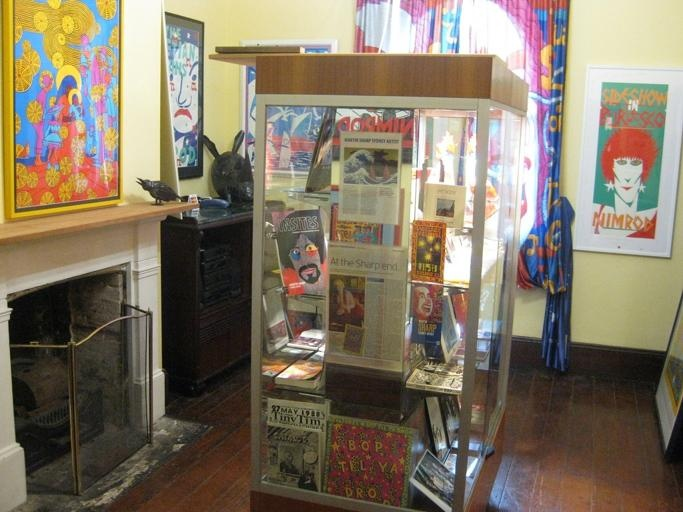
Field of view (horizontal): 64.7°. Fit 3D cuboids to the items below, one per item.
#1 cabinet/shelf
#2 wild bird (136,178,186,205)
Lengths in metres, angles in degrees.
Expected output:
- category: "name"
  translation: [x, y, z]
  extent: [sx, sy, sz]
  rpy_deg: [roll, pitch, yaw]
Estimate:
- category: "cabinet/shelf"
  translation: [-1.085, 0.317, 4.269]
  extent: [0.372, 1.334, 0.755]
  rpy_deg: [9, 16, 25]
- category: "wild bird"
  translation: [-1.169, -0.409, 3.535]
  extent: [0.337, 0.180, 0.122]
  rpy_deg: [1, 10, -13]
